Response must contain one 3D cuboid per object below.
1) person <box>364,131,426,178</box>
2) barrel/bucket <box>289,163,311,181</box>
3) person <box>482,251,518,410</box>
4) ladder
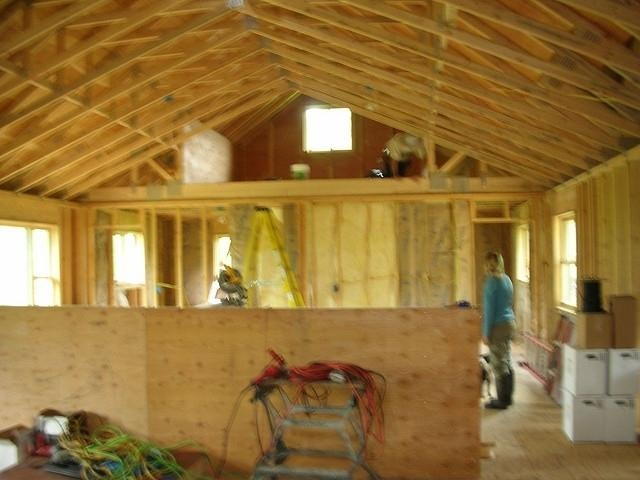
[{"bbox_3d":[1.166,-1.288,10.324,0.852,0.644,0.371,0,10,10],"label":"person"},{"bbox_3d":[-0.325,-1.146,11.153,0.388,0.379,0.401,-2,4,0],"label":"barrel/bucket"},{"bbox_3d":[2.018,1.047,7.923,0.445,1.798,0.335,-11,13,-42],"label":"person"},{"bbox_3d":[-0.692,0.257,10.256,0.924,1.434,0.759,0,10,14],"label":"ladder"}]
